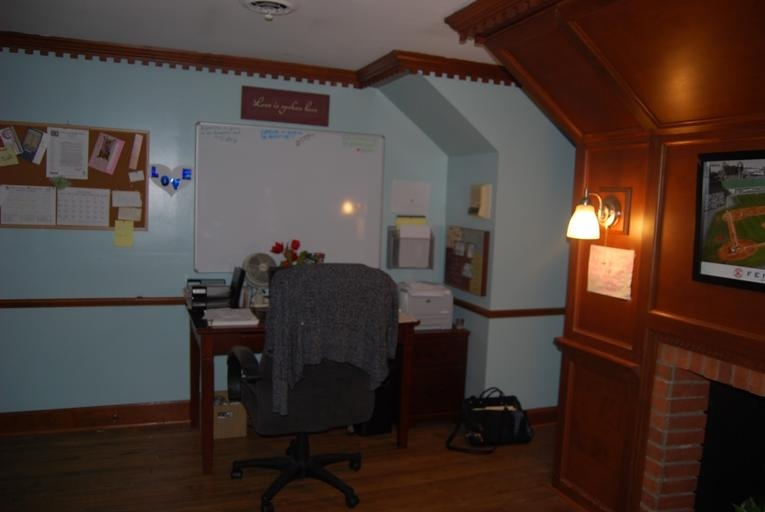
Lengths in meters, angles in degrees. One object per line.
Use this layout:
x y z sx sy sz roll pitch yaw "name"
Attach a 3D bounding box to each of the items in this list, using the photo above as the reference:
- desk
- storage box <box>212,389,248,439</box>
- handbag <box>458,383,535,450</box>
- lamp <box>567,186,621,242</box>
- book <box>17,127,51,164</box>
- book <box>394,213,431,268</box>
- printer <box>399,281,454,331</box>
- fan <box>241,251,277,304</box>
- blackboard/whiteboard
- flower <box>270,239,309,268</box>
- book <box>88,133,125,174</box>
-0.554 0.983 4.634 1.574 1.083 1.073 -3 0 -4 "desk"
-1.311 1.344 4.782 0.325 0.225 0.312 18 -17 6 "storage box"
0.953 1.409 4.848 0.716 0.602 0.370 0 -2 -9 "handbag"
1.461 -0.264 3.859 0.412 0.349 0.236 6 -1 -15 "lamp"
-2.787 -0.873 4.537 0.261 0.258 0.063 10 1 -15 "book"
0.287 -0.135 5.307 0.309 0.462 0.198 1 14 -6 "book"
0.382 0.423 5.043 0.409 0.391 0.412 0 1 -15 "printer"
-1.064 0.215 4.906 0.289 0.472 0.281 4 7 41 "fan"
-0.842 -0.523 5.031 1.696 1.277 0.035 4 3 8 "blackboard/whiteboard"
-0.788 -0.024 4.847 0.276 0.232 0.266 1 5 -10 "flower"
-2.258 -0.844 4.655 0.243 0.336 0.077 19 -1 -15 "book"
